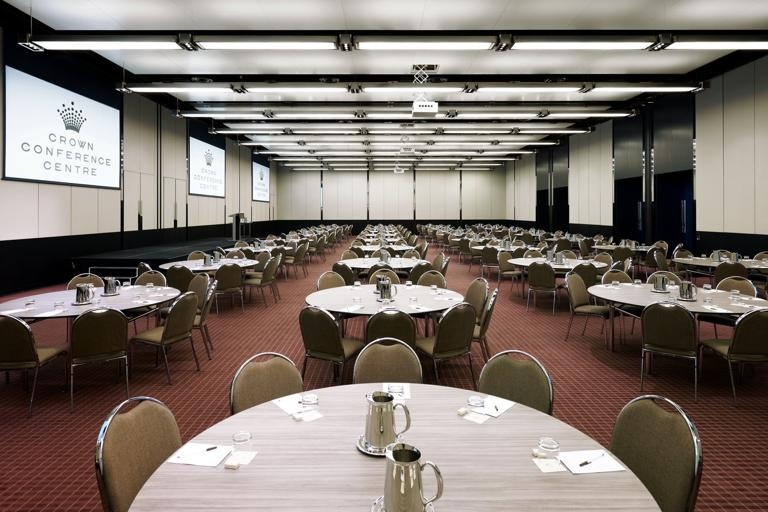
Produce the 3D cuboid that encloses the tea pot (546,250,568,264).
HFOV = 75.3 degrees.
[{"bbox_3d":[3.335,0.027,9.595,0.454,0.374,0.198,1,5,34],"label":"tea pot"}]

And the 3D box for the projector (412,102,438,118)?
[{"bbox_3d":[0.819,-3.009,9.965,0.463,0.274,0.379,1,4,-3],"label":"projector"}]

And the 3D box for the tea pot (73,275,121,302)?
[{"bbox_3d":[-4.284,0.405,7.499,0.641,0.264,0.533,6,3,6],"label":"tea pot"}]

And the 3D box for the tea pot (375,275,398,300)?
[{"bbox_3d":[0.051,0.441,6.714,0.315,0.367,0.189,0,1,8],"label":"tea pot"}]
